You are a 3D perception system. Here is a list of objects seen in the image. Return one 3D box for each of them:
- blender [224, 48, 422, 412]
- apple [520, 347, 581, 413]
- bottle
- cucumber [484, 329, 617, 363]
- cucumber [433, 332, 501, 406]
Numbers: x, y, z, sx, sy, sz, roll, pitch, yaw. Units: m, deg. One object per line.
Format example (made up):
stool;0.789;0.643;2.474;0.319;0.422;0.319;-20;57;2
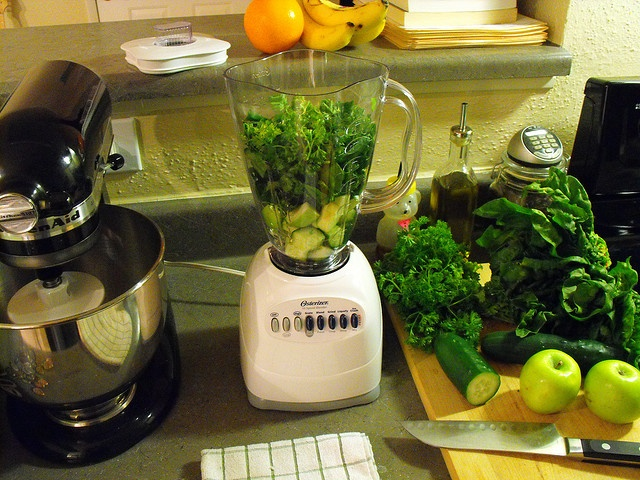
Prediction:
blender;0.008;0.006;0.818;0.312;0.532;0.248;-3;22;-6
apple;0.358;0.224;0.761;0.083;0.080;0.069;-21;39;-25
bottle;0.282;-0.124;1.006;0.103;0.317;0.099;-2;35;2
cucumber;0.367;0.175;0.850;0.253;0.069;0.075;2;76;6
cucumber;0.230;0.203;0.805;0.068;0.070;0.126;-12;30;-22
